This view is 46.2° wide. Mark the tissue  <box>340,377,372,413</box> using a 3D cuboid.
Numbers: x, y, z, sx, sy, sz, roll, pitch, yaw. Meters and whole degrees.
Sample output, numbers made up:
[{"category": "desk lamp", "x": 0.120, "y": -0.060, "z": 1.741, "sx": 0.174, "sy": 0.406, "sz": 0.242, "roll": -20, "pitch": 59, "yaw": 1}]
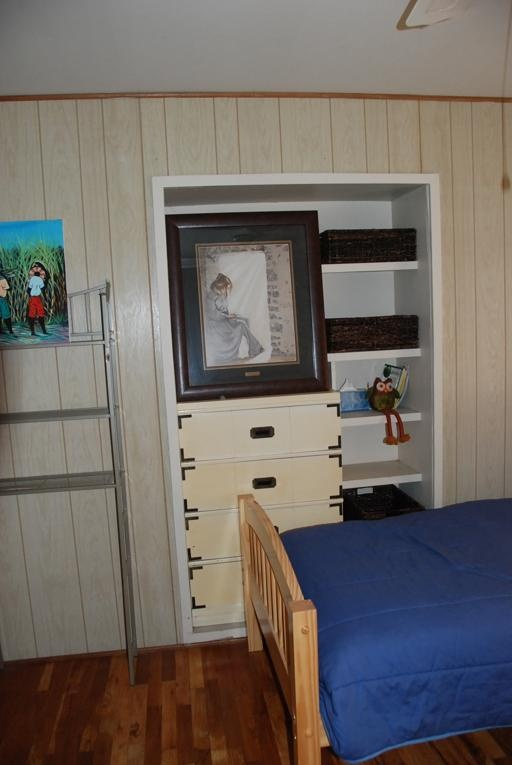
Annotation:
[{"category": "tissue ", "x": 0.463, "y": 0.049, "z": 2.934, "sx": 0.153, "sy": 0.167, "sz": 0.160, "roll": -2, "pitch": 4, "yaw": -17}]

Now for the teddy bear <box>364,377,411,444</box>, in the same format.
[{"category": "teddy bear", "x": 0.614, "y": 0.097, "z": 2.815, "sx": 0.156, "sy": 0.221, "sz": 0.368, "roll": -9, "pitch": 38, "yaw": -7}]

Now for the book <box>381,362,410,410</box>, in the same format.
[{"category": "book", "x": 0.668, "y": 0.024, "z": 2.855, "sx": 0.034, "sy": 0.223, "sz": 0.180, "roll": -1, "pitch": 11, "yaw": -12}]

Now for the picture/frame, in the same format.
[{"category": "picture/frame", "x": -0.054, "y": -0.304, "z": 2.446, "sx": 0.640, "sy": 0.845, "sz": 0.055, "roll": -5, "pitch": -1, "yaw": -11}]
